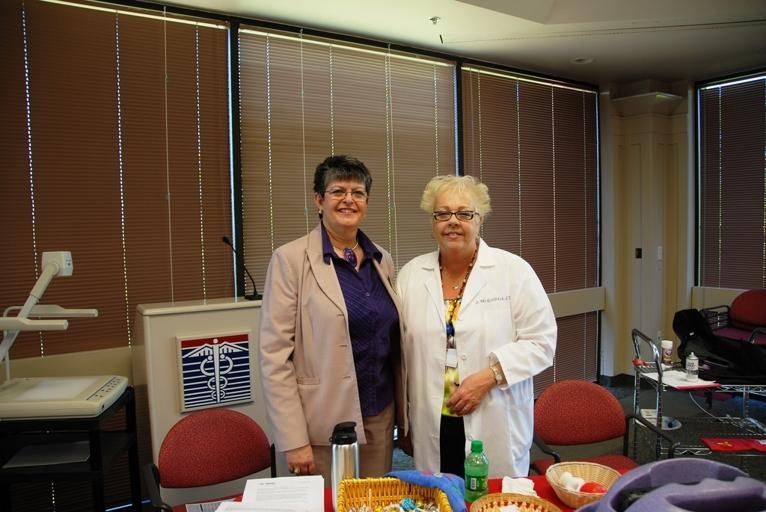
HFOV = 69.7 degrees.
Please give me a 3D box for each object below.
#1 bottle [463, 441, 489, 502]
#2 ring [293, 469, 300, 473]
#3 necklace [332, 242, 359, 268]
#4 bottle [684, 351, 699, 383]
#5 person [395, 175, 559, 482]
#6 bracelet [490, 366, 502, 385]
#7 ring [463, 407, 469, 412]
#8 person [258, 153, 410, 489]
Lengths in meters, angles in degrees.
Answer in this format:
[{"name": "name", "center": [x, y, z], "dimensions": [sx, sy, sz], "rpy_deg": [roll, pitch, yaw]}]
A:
[{"name": "bottle", "center": [0.457, 1.067, 2.707], "dimensions": [0.139, 0.293, 0.085], "rpy_deg": [-5, 0, -11]}, {"name": "ring", "center": [-0.462, 1.150, 2.946], "dimensions": [0.025, 0.018, 0.011], "rpy_deg": [-4, 6, -26]}, {"name": "necklace", "center": [-0.201, -0.004, 3.186], "dimensions": [0.040, 0.128, 0.129], "rpy_deg": [-33, 5, 20]}, {"name": "bottle", "center": [2.555, 0.921, 4.549], "dimensions": [0.081, 0.239, 0.154], "rpy_deg": [-6, -1, 39]}, {"name": "person", "center": [0.478, 0.766, 3.409], "dimensions": [1.062, 2.346, 0.820], "rpy_deg": [0, 12, 20]}, {"name": "bracelet", "center": [0.641, 0.670, 3.108], "dimensions": [0.063, 0.099, 0.100], "rpy_deg": [-11, -8, -6]}, {"name": "ring", "center": [0.465, 0.855, 3.068], "dimensions": [0.024, 0.027, 0.031], "rpy_deg": [4, -21, 22]}, {"name": "person", "center": [-0.299, 0.353, 3.102], "dimensions": [0.809, 1.783, 0.232], "rpy_deg": [-5, 0, -13]}]
